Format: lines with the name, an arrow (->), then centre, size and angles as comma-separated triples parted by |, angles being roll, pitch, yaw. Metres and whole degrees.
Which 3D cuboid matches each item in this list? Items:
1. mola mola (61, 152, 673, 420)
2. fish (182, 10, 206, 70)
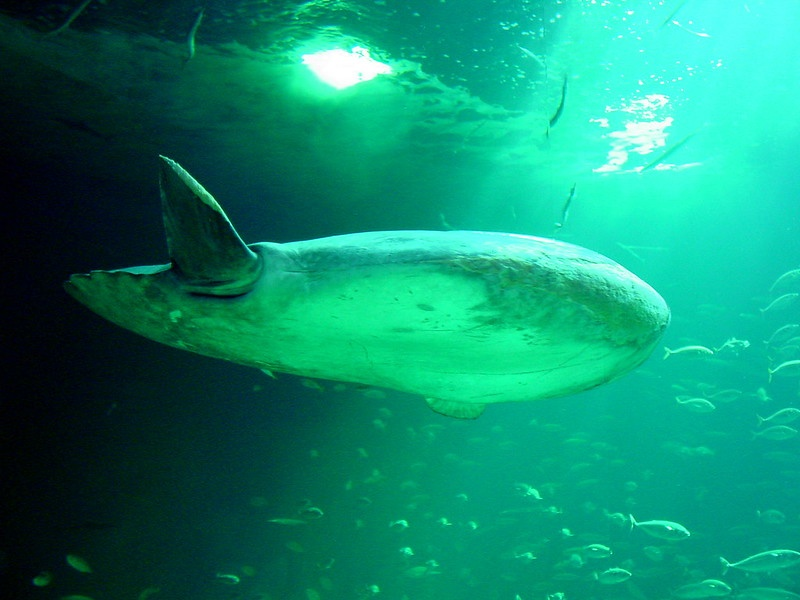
mola mola -> -0.244, 0.128, 12.830 | 8.943, 0.908, 4.027 | 2, -20, -9
fish -> -3.428, -4.274, 15.425 | 0.250, 0.838, 1.090 | 8, -2, -14
